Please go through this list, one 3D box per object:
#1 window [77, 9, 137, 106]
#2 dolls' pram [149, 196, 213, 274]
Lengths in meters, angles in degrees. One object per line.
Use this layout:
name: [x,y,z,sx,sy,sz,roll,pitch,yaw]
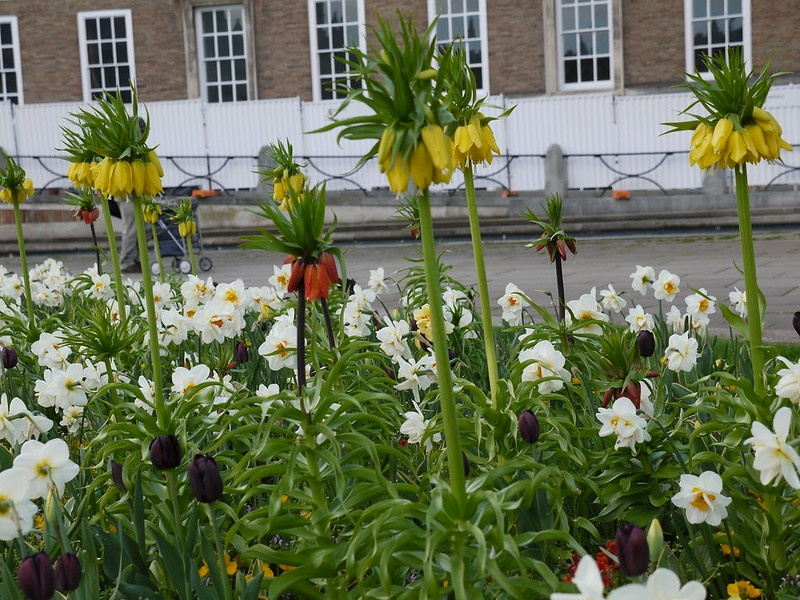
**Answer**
window: [-5.337,-4.308,22.460,0.918,2.091,0.125,-5,-17,-13]
dolls' pram: [-2.726,-0.806,14.363,0.649,0.949,0.665,2,13,-8]
